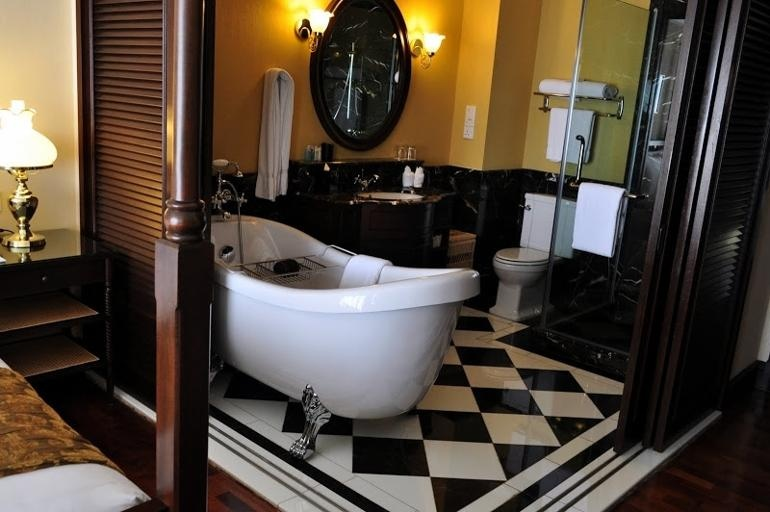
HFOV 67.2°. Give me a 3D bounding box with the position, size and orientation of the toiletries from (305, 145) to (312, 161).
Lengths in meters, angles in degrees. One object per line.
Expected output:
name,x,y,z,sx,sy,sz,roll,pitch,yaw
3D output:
toiletries,-0.577,-0.798,4.451,0.032,0.107,0.062,11,16,33

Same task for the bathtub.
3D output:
bathtub,-0.368,0.404,3.296,1.583,0.859,0.804,14,17,40

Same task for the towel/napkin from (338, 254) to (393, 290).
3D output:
towel/napkin,-0.123,0.084,3.457,0.245,0.242,0.214,21,24,29

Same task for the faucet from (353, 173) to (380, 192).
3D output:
faucet,-0.123,-0.612,4.768,0.205,0.198,0.131,-3,10,-32

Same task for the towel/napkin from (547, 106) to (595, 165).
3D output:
towel/napkin,1.511,-0.953,4.447,0.466,0.489,0.117,11,15,41

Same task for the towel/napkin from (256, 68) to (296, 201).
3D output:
towel/napkin,-0.799,-0.882,4.159,0.230,0.907,0.209,4,13,7

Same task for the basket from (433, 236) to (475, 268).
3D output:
basket,0.603,0.002,5.328,0.267,0.335,0.467,-13,7,-21

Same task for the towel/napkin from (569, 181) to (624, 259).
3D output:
towel/napkin,1.479,-0.270,4.031,0.351,0.482,0.139,17,13,38

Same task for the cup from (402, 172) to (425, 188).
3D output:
cup,0.242,-0.653,4.943,0.173,0.143,0.101,-5,18,-13
